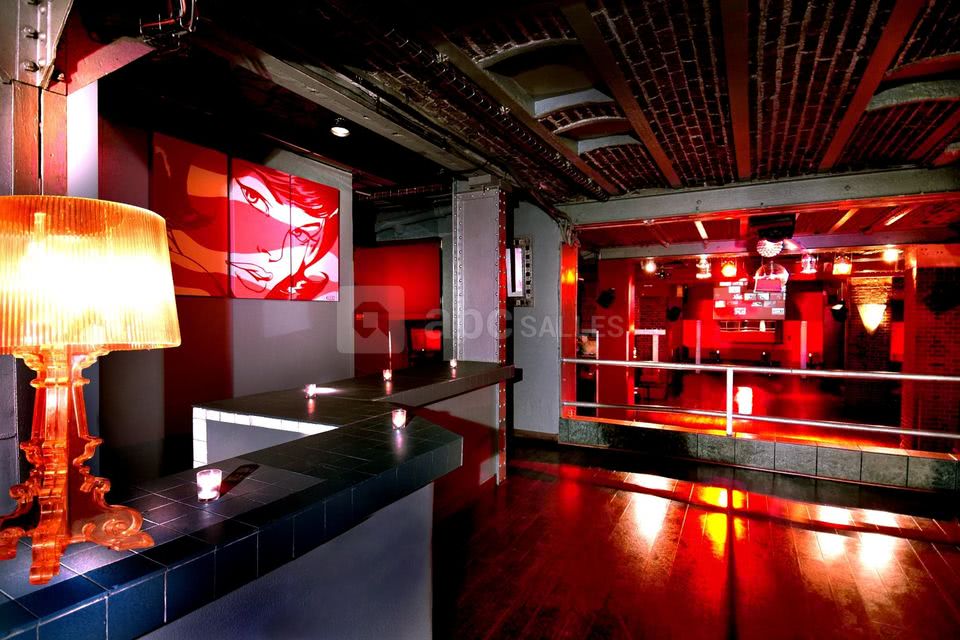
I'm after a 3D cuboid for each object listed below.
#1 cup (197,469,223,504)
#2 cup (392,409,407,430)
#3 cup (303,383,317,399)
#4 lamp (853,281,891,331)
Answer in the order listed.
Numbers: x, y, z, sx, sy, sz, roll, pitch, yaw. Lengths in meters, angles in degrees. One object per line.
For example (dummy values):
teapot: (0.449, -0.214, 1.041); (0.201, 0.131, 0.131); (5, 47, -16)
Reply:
cup: (-1.383, 0.839, 3.245); (0.147, 0.144, 0.144); (2, 1, 0)
cup: (-0.518, 0.634, 4.081); (0.117, 0.106, 0.109); (-1, 3, 0)
cup: (-1.312, 0.562, 4.907); (0.086, 0.109, 0.049); (19, 19, -7)
lamp: (6.920, -0.252, 11.338); (0.590, 1.041, 0.183); (6, 14, 29)
